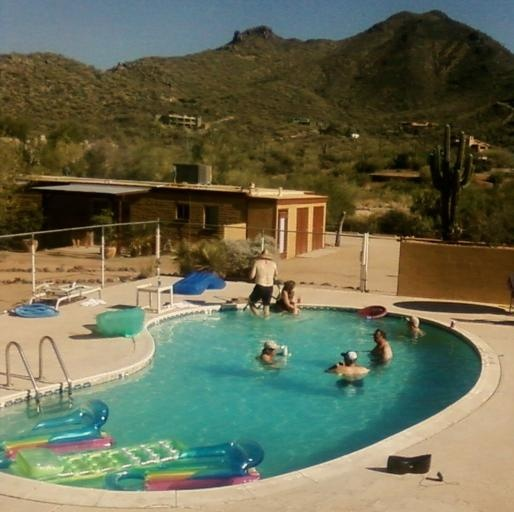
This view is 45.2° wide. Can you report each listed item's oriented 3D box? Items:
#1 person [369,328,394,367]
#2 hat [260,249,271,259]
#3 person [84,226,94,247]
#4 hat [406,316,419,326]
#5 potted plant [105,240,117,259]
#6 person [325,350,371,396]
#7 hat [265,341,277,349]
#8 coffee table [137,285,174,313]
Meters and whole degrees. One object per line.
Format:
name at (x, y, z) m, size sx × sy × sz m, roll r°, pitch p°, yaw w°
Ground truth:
person at (2.288, 1.701, 11.660) m, size 0.280 × 0.484 × 0.814 m, roll 2°, pitch 36°, yaw 7°
hat at (0.204, -0.066, 15.067) m, size 0.195 × 0.100 × 0.253 m, roll 1°, pitch 13°, yaw -6°
person at (-7.390, -0.855, 27.178) m, size 0.393 × 0.740 × 0.764 m, roll -2°, pitch 9°, yaw -17°
hat at (3.370, 1.413, 13.381) m, size 0.209 × 0.141 × 0.291 m, roll -1°, pitch 27°, yaw -33°
potted plant at (-5.742, -0.264, 24.170) m, size 0.599 × 0.625 × 0.582 m, roll 0°, pitch -3°, yaw -3°
person at (1.535, 1.952, 10.568) m, size 0.752 × 0.488 × 0.973 m, roll 2°, pitch 9°, yaw 8°
hat at (0.250, 1.670, 11.470) m, size 0.228 × 0.186 × 0.329 m, roll 1°, pitch 9°, yaw 0°
coffee table at (-2.425, 0.965, 14.698) m, size 0.979 × 0.728 × 0.703 m, roll 3°, pitch 3°, yaw 44°
